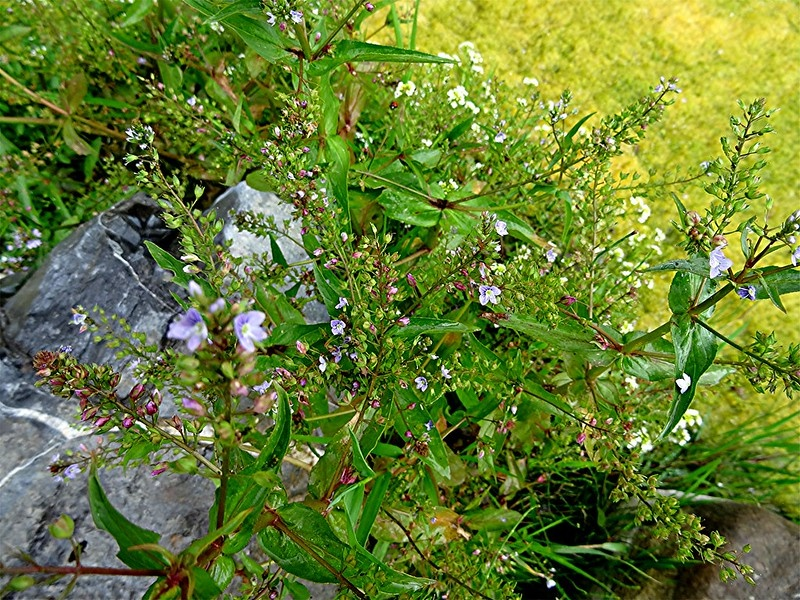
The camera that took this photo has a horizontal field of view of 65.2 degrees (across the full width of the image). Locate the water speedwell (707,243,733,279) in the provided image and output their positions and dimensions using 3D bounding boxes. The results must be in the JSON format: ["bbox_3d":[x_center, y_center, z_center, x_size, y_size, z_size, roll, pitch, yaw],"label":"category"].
[{"bbox_3d":[1.329,-0.150,2.638,0.059,0.127,0.123,33,76,36],"label":"water speedwell"}]

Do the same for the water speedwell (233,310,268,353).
[{"bbox_3d":[-0.527,0.108,2.244,0.101,0.113,0.052,27,64,-19],"label":"water speedwell"}]

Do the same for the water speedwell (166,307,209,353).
[{"bbox_3d":[-0.722,0.105,2.144,0.111,0.109,0.137,29,47,-1],"label":"water speedwell"}]
